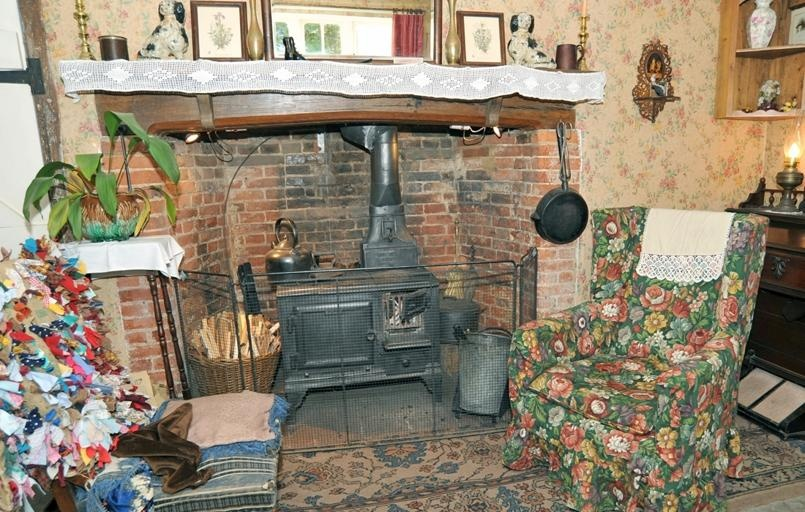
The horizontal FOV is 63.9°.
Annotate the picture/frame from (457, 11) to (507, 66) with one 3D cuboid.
[{"bbox_3d":[0.458,-1.285,3.857,0.392,0.324,0.039,-6,1,-25],"label":"picture/frame"}]

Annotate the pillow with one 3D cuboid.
[{"bbox_3d":[-0.799,0.858,3.241,0.382,0.084,0.360,-3,30,-7],"label":"pillow"}]

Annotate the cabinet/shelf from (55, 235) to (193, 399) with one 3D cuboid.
[{"bbox_3d":[-1.475,0.288,3.989,0.897,0.989,0.881,-6,8,-32],"label":"cabinet/shelf"}]

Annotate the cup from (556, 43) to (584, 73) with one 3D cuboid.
[{"bbox_3d":[1.014,-1.202,3.956,0.162,0.167,0.323,4,14,16],"label":"cup"}]

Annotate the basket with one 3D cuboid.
[{"bbox_3d":[-1.071,0.609,4.058,0.530,0.343,0.591,-2,11,-14],"label":"basket"}]

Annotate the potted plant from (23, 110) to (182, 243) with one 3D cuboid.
[{"bbox_3d":[-1.659,-0.422,3.567,0.808,0.722,0.533,-5,16,-17],"label":"potted plant"}]

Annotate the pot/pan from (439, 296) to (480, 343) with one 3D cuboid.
[{"bbox_3d":[0.357,0.413,4.088,0.243,0.244,0.257,0,15,4],"label":"pot/pan"}]

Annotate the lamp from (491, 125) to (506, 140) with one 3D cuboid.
[{"bbox_3d":[0.622,-0.810,4.250,0.072,0.083,0.117,-29,47,-14],"label":"lamp"}]
